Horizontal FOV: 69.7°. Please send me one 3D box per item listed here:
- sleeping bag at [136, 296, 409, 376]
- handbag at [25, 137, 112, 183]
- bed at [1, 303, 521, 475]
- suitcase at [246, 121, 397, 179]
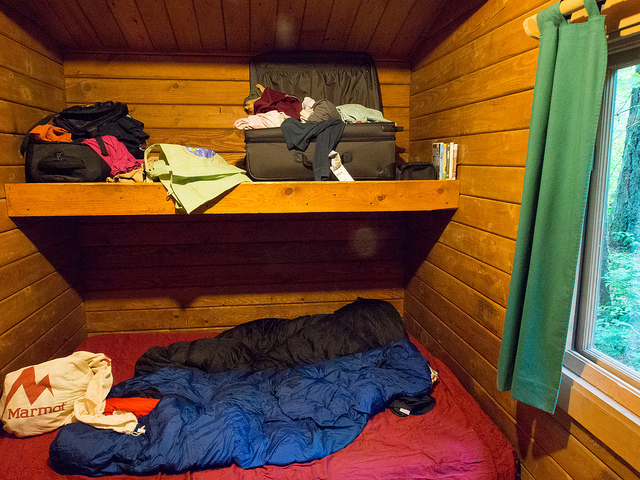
[{"bbox_3d":[-0.269,0.596,2.661,1.524,0.262,0.518,-12,5,-8],"label":"sleeping bag"},{"bbox_3d":[-1.259,-0.372,2.254,0.412,0.282,0.144,-7,-26,-6],"label":"handbag"},{"bbox_3d":[-0.252,0.748,2.127,1.431,0.145,0.892,-2,15,-13],"label":"bed"},{"bbox_3d":[0.016,-0.445,2.369,0.760,0.284,0.176,-6,-26,-7],"label":"suitcase"}]
